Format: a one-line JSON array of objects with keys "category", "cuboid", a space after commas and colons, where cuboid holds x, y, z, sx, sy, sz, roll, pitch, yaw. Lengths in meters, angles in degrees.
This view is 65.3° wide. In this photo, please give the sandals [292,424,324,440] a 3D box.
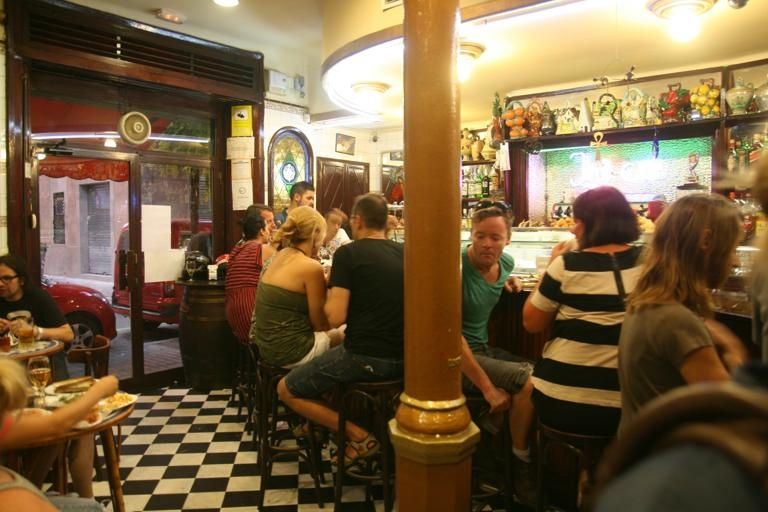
[{"category": "sandals", "cuboid": [-0.590, 1.312, 4.577, 0.134, 0.086, 0.330, 4, -5, -33]}]

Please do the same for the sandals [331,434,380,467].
[{"category": "sandals", "cuboid": [-0.246, 1.406, 4.382, 0.148, 0.204, 0.400, 21, -28, -36]}]

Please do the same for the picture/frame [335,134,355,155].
[{"category": "picture/frame", "cuboid": [-0.659, -1.828, 9.836, 0.019, 0.245, 0.432, 6, 6, 31]}]

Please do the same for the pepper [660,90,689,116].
[{"category": "pepper", "cuboid": [3.261, -1.698, 6.772, 0.305, 0.277, 0.302, 8, 8, 27]}]

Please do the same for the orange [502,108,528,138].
[{"category": "orange", "cuboid": [1.634, -1.642, 7.454, 0.207, 0.278, 0.382, -3, -20, -3]}]

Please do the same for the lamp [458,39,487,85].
[{"category": "lamp", "cuboid": [0.939, -2.051, 6.341, 0.248, 0.342, 1.073, 2, 12, 9]}]

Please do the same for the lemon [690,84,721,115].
[{"category": "lemon", "cuboid": [3.532, -1.708, 6.601, 0.322, 0.343, 0.147, -1, 4, 32]}]
